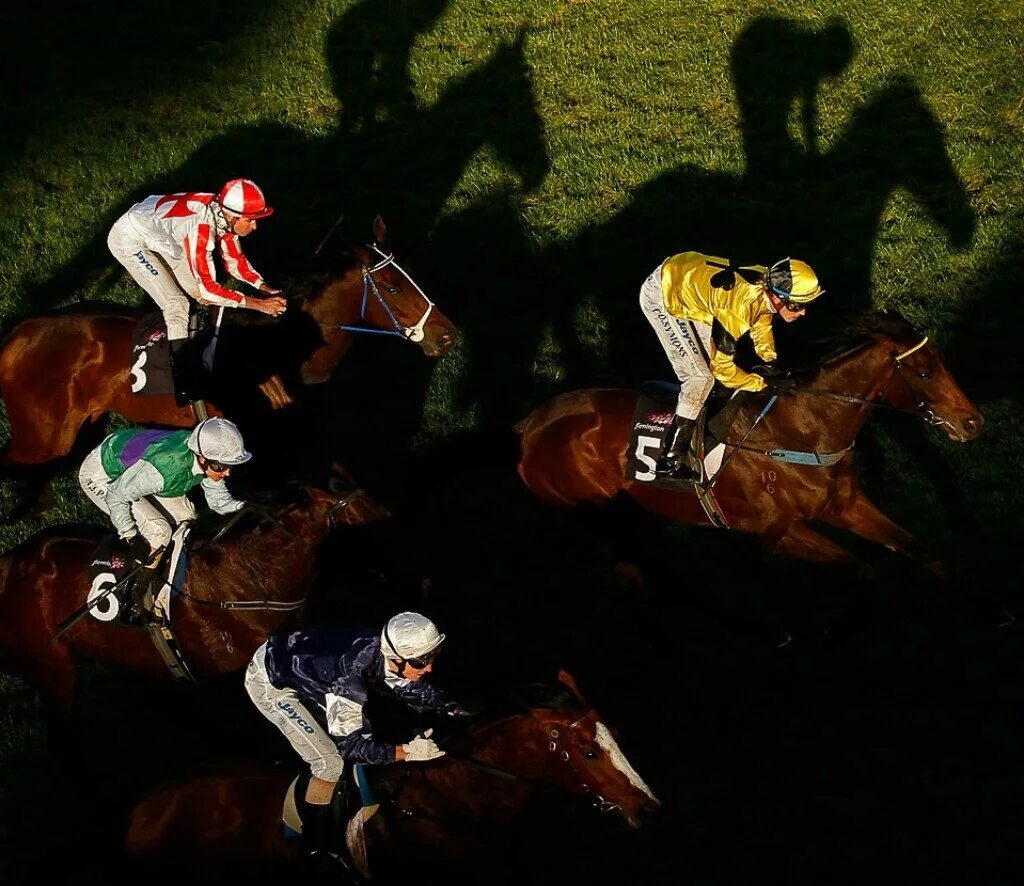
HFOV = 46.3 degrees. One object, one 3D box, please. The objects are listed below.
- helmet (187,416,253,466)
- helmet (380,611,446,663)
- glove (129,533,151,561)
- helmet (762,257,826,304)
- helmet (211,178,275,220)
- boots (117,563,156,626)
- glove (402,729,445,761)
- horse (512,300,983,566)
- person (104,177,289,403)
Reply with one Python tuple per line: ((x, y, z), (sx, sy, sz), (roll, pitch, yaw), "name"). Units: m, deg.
((-1.632, 0.019, 6.582), (0.270, 0.252, 0.226), (-23, 47, -9), "helmet")
((-0.507, 0.971, 6.089), (0.301, 0.167, 0.229), (8, 44, 4), "helmet")
((-2.132, 0.600, 6.848), (0.146, 0.201, 0.150), (1, -3, -17), "glove")
((1.544, -0.889, 6.721), (0.303, 0.207, 0.221), (-6, 23, 47), "helmet")
((-1.622, -1.429, 7.265), (0.380, 0.193, 0.243), (18, 44, 0), "helmet")
((-2.148, 0.868, 6.847), (0.227, 0.317, 0.099), (3, -1, 11), "boots")
((-0.463, 1.568, 6.179), (0.218, 0.151, 0.054), (3, 6, -5), "glove")
((1.403, 0.050, 7.591), (3.019, 1.554, 0.924), (4, 12, 34), "horse")
((-1.958, -1.112, 7.476), (0.987, 0.947, 0.993), (-27, 48, -13), "person")
